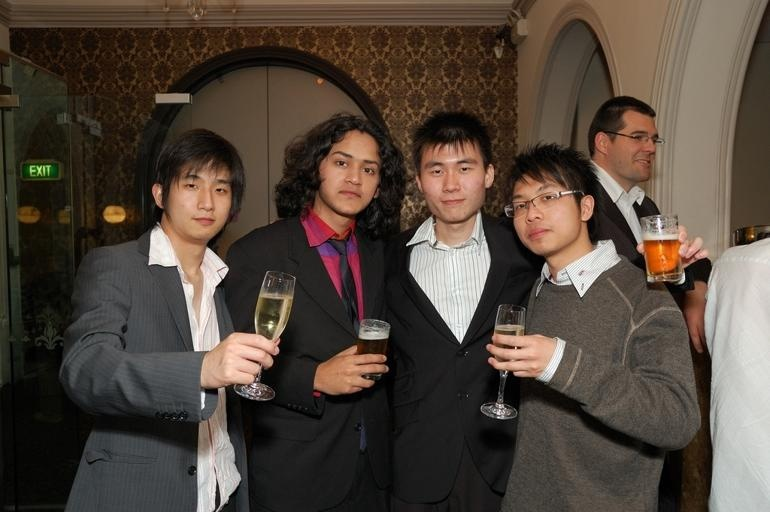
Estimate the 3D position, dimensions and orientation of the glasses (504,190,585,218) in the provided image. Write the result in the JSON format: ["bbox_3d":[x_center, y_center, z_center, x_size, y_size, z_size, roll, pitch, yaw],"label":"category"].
[{"bbox_3d":[0.756,-0.251,2.537,0.309,0.125,0.119,3,6,20],"label":"glasses"}]

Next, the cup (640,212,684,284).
[{"bbox_3d":[1.257,-0.029,2.400,0.236,0.313,0.126,0,6,-12],"label":"cup"}]

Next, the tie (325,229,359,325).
[{"bbox_3d":[-0.204,0.129,2.890,0.107,0.634,0.087,8,-27,-20],"label":"tie"}]
